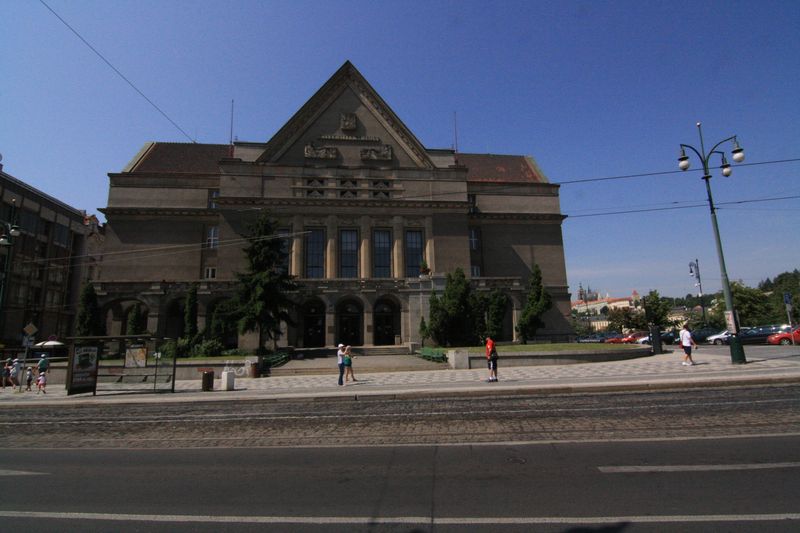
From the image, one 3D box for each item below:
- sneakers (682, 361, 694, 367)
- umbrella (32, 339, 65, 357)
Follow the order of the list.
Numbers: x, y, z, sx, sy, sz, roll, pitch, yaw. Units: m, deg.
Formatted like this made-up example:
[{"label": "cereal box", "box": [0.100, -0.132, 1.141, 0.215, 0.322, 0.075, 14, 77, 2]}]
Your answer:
[{"label": "sneakers", "box": [14.517, 4.951, 31.072, 0.228, 0.267, 0.648, 6, -17, -24]}, {"label": "umbrella", "box": [-25.028, 5.817, 43.459, 2.159, 0.828, 2.053, -2, -7, 4]}]
